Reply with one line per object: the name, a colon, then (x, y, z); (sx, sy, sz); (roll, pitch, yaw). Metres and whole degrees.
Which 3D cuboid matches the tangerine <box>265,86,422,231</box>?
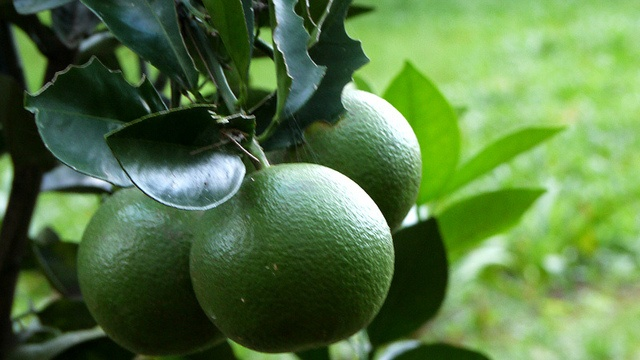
tangerine: (0.056, -0.034, 1.112); (0.233, 0.196, 0.191); (33, 50, 14)
